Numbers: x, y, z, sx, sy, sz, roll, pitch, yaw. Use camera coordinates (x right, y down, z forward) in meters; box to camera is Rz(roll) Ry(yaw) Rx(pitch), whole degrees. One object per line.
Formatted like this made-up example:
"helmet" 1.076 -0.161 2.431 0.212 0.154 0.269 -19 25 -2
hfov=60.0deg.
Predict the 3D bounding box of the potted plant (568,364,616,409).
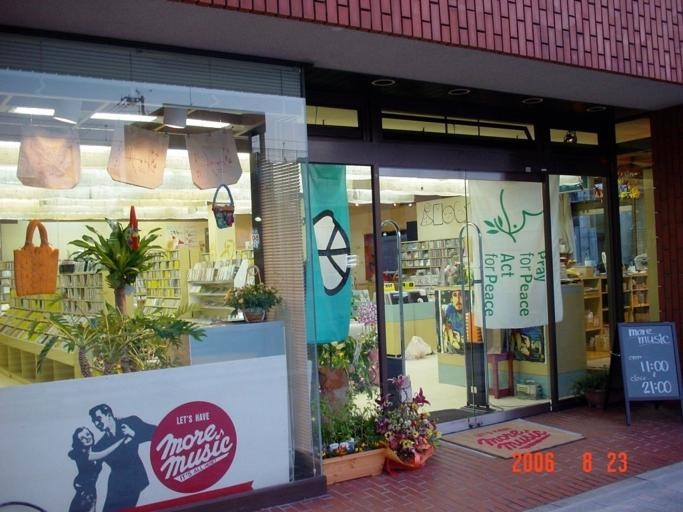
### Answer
"potted plant" 3.247 1.650 7.668 0.461 0.498 0.467 2 -2 -24

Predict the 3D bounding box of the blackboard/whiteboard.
"blackboard/whiteboard" 3.602 1.204 6.907 0.664 0.850 0.333 -2 -2 11

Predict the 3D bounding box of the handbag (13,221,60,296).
"handbag" -2.266 0.009 4.373 0.290 0.555 0.067 0 -2 -32

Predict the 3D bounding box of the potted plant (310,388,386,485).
"potted plant" 0.085 1.725 5.880 0.652 0.800 0.569 -1 -2 -12

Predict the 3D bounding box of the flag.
"flag" -0.072 -0.009 6.016 0.423 1.865 0.277 -1 6 -26

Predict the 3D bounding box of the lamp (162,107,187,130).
"lamp" -1.373 -1.137 4.850 0.159 0.168 0.170 2 -3 2

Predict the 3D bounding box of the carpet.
"carpet" 1.882 1.998 6.558 1.351 0.091 0.984 -1 -2 -27

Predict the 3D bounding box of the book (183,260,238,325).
"book" -1.071 0.283 4.841 0.264 0.483 0.357 1 3 -35

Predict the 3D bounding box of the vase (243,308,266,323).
"vase" -0.755 0.494 5.123 0.128 0.085 0.128 2 -4 -30

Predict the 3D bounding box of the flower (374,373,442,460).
"flower" 0.618 1.614 6.246 0.665 0.981 0.707 -1 -3 -11
